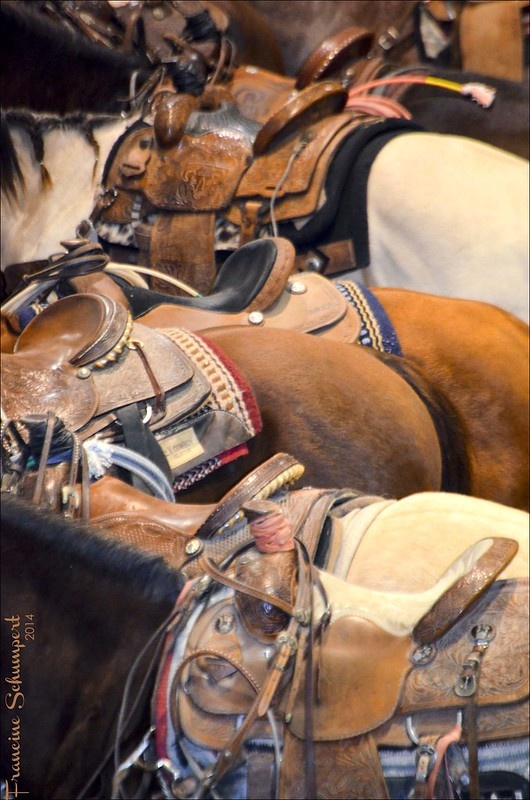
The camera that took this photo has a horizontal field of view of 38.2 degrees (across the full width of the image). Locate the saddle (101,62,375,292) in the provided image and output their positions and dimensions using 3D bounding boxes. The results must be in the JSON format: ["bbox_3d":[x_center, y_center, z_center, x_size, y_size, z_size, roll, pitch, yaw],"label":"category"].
[{"bbox_3d":[-0.007,-0.297,1.061,0.435,0.261,0.293,14,30,36],"label":"saddle"}]
